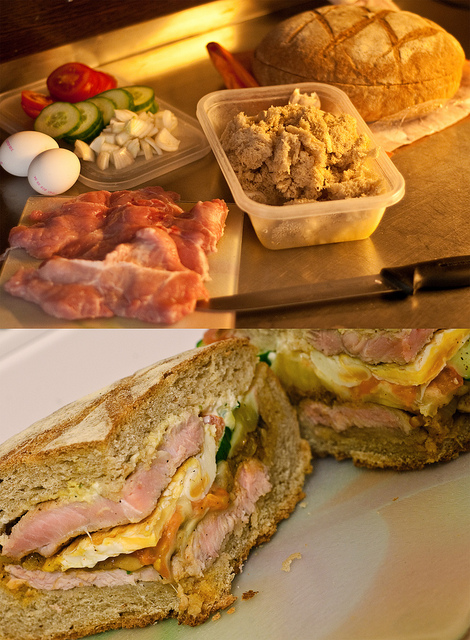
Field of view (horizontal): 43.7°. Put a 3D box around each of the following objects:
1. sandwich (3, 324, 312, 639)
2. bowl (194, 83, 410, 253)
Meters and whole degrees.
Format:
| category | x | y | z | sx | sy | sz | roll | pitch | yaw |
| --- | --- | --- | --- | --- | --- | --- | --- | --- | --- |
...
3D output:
| category | x | y | z | sx | sy | sz | roll | pitch | yaw |
| --- | --- | --- | --- | --- | --- | --- | --- | --- | --- |
| sandwich | -0.111 | 0.215 | 0.789 | 0.442 | 0.241 | 0.327 | -10 | 46 | -2 |
| bowl | 0.100 | -0.269 | 0.981 | 0.281 | 0.114 | 0.343 | -10 | 51 | -11 |
